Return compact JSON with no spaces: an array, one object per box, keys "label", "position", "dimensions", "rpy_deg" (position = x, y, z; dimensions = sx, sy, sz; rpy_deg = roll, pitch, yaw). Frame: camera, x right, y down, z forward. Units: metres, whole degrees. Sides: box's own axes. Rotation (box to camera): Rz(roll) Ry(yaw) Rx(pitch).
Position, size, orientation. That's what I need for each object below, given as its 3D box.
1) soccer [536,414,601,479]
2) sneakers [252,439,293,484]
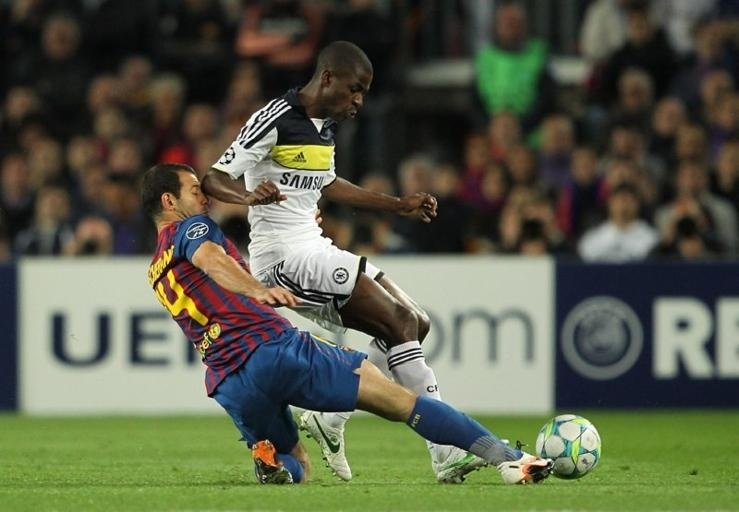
[{"label":"soccer","position":[1.535,1.458,8.881],"dimensions":[0.457,0.494,0.473],"rpy_deg":[1,-7,10]},{"label":"sneakers","position":[-0.766,1.641,8.898],"dimensions":[0.206,0.387,0.161],"rpy_deg":[-32,-1,2]}]
